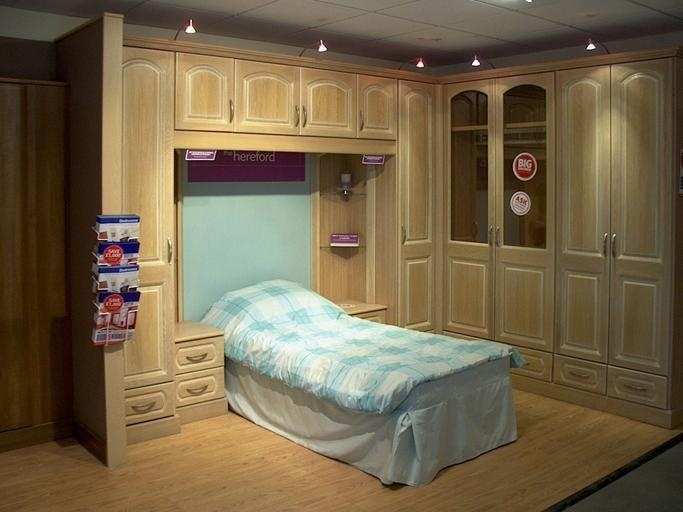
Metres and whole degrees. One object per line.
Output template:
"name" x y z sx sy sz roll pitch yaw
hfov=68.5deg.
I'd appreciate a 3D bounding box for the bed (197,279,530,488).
"bed" -0.021 0.728 3.919 1.282 0.804 1.893 -5 6 -41
